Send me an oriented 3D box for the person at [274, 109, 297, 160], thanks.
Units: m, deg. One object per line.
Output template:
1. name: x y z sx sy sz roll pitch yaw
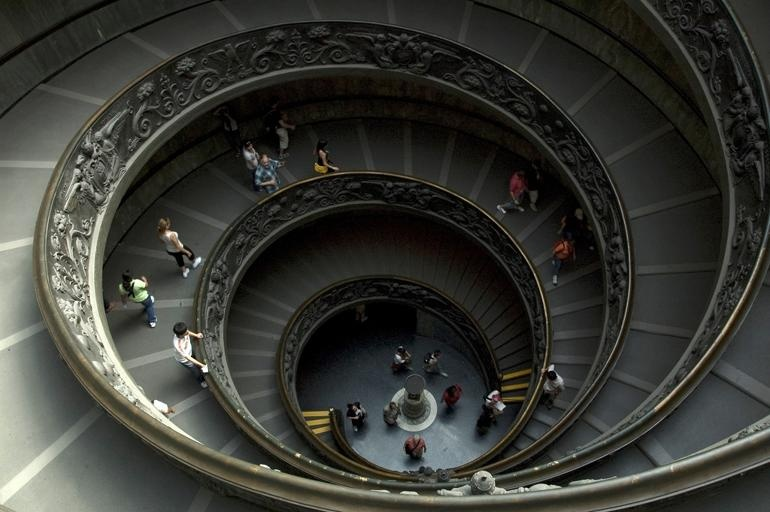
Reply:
1. person: -3.354 -4.011 18.357 0.534 0.563 1.650 -18 -10 -14

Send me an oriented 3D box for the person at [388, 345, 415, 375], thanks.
1. person: 0.654 3.860 20.889 0.762 1.088 1.498 9 6 -2

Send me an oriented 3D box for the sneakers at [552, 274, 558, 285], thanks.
1. sneakers: 4.980 0.676 16.130 0.142 0.250 0.059 1 -17 3

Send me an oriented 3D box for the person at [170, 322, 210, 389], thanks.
1. person: -4.911 2.555 13.845 0.549 0.821 1.447 -23 -12 -5

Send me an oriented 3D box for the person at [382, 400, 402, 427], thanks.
1. person: 0.243 5.419 18.881 0.433 0.323 0.716 23 -32 19

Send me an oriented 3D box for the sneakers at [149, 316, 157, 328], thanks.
1. sneakers: -6.288 1.778 14.913 0.123 0.289 0.116 1 -3 -6

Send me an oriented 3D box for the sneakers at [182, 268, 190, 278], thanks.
1. sneakers: -5.716 0.474 15.816 0.106 0.257 0.100 2 -26 -6

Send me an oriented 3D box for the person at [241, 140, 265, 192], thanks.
1. person: -4.223 -2.782 17.443 0.509 0.568 1.669 -8 -10 -8

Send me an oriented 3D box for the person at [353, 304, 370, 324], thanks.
1. person: -0.940 2.272 21.615 0.557 0.911 0.966 0 7 -1

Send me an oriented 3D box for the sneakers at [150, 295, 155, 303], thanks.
1. sneakers: -6.299 1.158 14.871 0.145 0.155 0.162 7 -27 -7

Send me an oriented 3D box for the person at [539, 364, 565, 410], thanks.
1. person: 4.330 3.314 14.330 0.571 0.528 1.538 -11 3 14

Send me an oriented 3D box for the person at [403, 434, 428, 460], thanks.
1. person: 0.952 6.163 17.712 1.075 0.806 2.364 0 -20 5

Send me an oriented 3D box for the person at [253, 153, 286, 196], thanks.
1. person: -3.684 -2.543 17.456 0.962 0.750 1.451 -35 -2 -11

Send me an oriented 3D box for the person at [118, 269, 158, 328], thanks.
1. person: -6.435 1.007 14.437 0.625 0.738 1.891 15 -36 11

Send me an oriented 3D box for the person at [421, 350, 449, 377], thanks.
1. person: 1.888 4.044 20.608 0.689 0.340 0.740 29 -23 15

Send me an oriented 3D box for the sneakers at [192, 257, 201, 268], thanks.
1. sneakers: -5.468 0.167 16.030 0.112 0.328 0.137 17 -30 10
